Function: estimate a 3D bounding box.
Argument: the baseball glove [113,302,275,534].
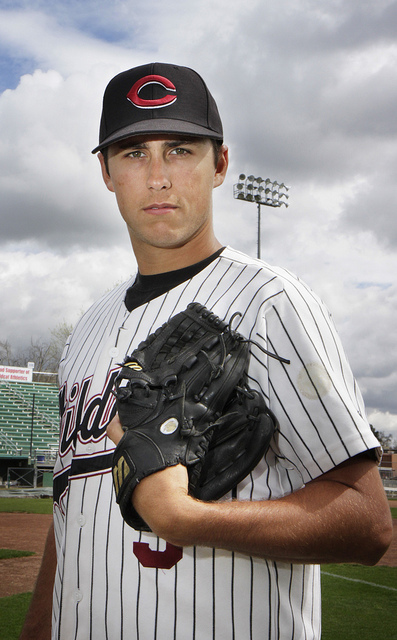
[{"bbox_3d":[-0.037,0.223,1.306,0.429,0.209,0.557,-26,37,6],"label":"baseball glove"}]

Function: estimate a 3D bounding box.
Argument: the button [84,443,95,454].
[{"bbox_3d":[-0.313,0.374,1.616,0.029,0.029,0.013,-12,-9,40],"label":"button"}]

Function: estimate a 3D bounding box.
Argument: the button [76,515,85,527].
[{"bbox_3d":[-0.328,0.562,1.557,0.025,0.030,0.008,-4,-6,36],"label":"button"}]

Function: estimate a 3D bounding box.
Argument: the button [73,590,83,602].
[{"bbox_3d":[-0.327,0.753,1.515,0.030,0.030,0.010,-1,-5,32],"label":"button"}]

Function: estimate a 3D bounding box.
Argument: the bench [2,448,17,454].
[{"bbox_3d":[-10.665,7.440,31.583,0.804,0.248,0.666,0,-1,-23],"label":"bench"}]

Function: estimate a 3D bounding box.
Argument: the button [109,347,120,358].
[{"bbox_3d":[-0.258,0.100,1.706,0.031,0.031,0.007,-1,-10,33],"label":"button"}]
